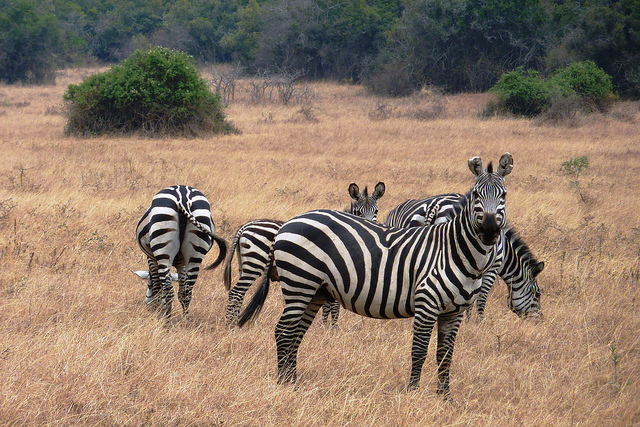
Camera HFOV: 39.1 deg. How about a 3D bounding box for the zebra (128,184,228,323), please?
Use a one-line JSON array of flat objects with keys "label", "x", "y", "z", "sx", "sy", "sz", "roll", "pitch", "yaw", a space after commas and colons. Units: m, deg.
[{"label": "zebra", "x": -4.570, "y": 1.168, "z": 28.733, "sx": 2.423, "sy": 2.810, "sz": 2.445, "roll": -24, "pitch": 53, "yaw": -28}]
